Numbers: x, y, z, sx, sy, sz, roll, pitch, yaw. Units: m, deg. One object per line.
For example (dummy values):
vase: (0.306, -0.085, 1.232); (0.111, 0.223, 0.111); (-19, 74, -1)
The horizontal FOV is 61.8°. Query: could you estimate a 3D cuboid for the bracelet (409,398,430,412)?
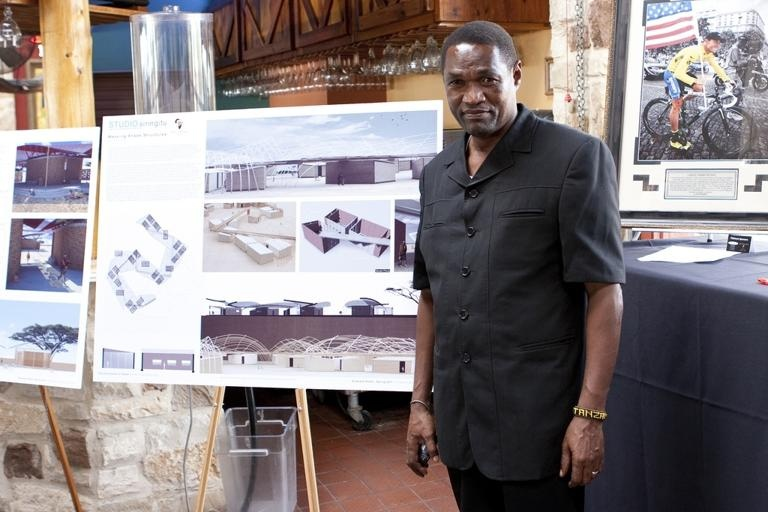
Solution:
bracelet: (0.119, 0.513, 2.239); (0.046, 0.041, 0.018); (-2, 48, 33)
